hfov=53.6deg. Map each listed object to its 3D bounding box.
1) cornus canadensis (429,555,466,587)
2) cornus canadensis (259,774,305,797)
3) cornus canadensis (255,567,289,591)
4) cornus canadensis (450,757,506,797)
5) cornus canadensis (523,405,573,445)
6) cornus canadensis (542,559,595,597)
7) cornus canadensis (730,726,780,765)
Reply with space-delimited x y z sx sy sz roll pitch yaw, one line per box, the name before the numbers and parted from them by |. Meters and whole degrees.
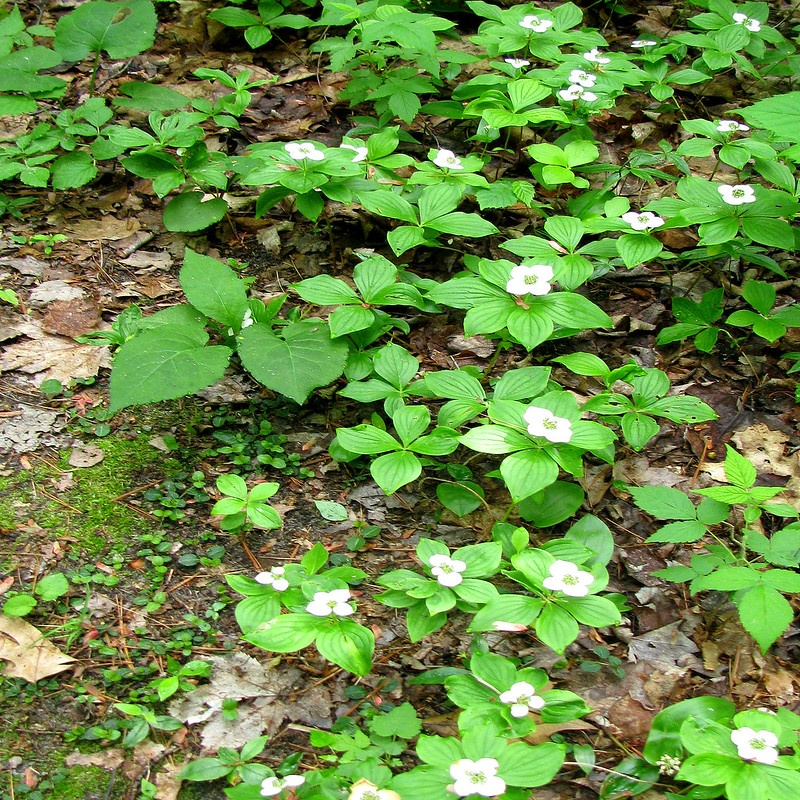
cornus canadensis | 0.202 0.716 3.339 0.171 0.033 0.146 -12 34 -27
cornus canadensis | -0.442 1.452 2.979 0.186 0.045 0.089 -7 37 0
cornus canadensis | -0.554 0.790 3.461 0.133 0.108 0.125 -10 36 -14
cornus canadensis | 0.273 1.334 2.791 0.181 0.048 0.135 0 31 0
cornus canadensis | 0.667 0.104 3.578 0.205 0.091 0.233 2 31 4
cornus canadensis | 0.700 0.742 3.270 0.184 0.076 0.166 10 33 15
cornus canadensis | 1.315 1.280 2.937 0.156 0.046 0.127 6 31 10
